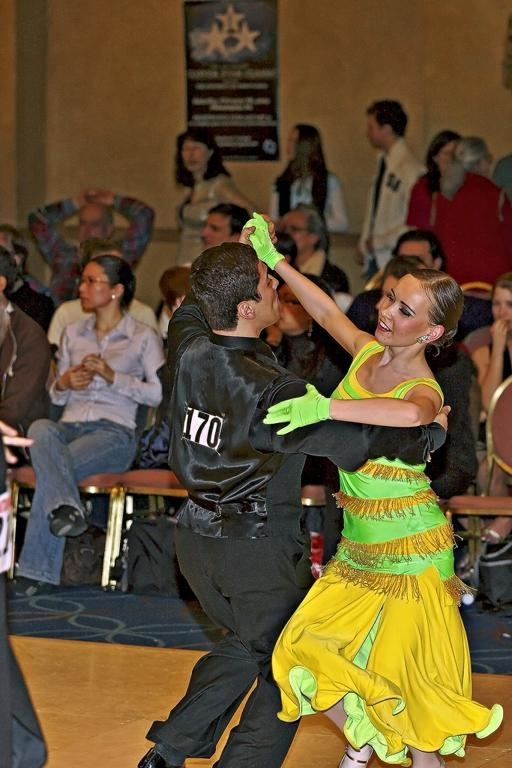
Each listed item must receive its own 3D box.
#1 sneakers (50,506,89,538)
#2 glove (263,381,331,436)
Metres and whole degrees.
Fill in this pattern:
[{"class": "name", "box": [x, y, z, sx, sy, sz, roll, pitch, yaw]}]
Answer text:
[{"class": "sneakers", "box": [-1.027, 0.737, 3.848, 0.166, 0.182, 0.093, -6, 13, -15]}, {"class": "glove", "box": [0.076, 0.050, 1.347, 0.136, 0.101, 0.117, 1, -2, 9]}]
